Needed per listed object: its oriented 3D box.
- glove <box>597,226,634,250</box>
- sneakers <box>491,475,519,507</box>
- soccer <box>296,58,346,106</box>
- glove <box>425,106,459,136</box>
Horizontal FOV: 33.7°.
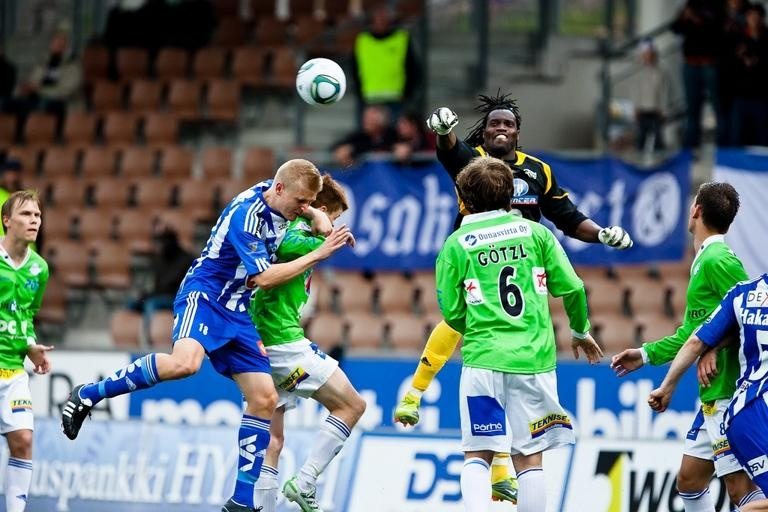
[{"bbox_3d":[2.695,-0.239,14.793,0.290,0.143,0.254,3,-37,10],"label":"glove"},{"bbox_3d":[1.325,2.678,14.682,0.448,0.285,0.166,10,8,15],"label":"sneakers"},{"bbox_3d":[-0.733,-2.066,15.380,0.500,0.478,0.539,-8,22,-24],"label":"soccer"},{"bbox_3d":[0.657,-1.557,14.558,0.289,0.286,0.302,1,-5,3],"label":"glove"}]
